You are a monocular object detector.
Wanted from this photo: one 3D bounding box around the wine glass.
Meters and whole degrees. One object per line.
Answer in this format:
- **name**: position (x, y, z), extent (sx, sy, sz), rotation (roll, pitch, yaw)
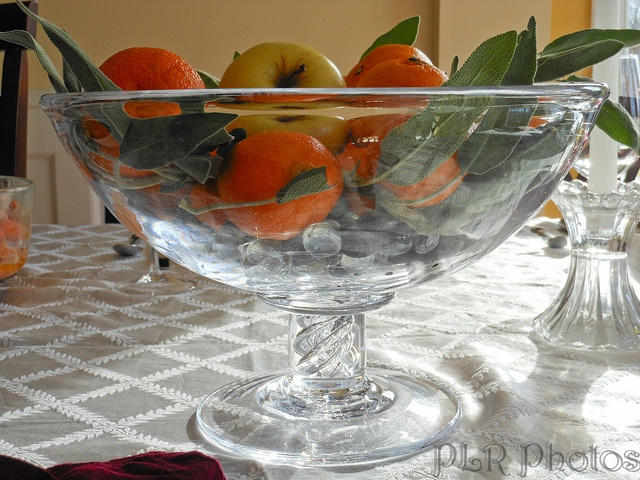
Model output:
- **wine glass**: position (0.012, -0.002, 0.519), extent (0.448, 0.159, 0.315), rotation (-1, 5, -2)
